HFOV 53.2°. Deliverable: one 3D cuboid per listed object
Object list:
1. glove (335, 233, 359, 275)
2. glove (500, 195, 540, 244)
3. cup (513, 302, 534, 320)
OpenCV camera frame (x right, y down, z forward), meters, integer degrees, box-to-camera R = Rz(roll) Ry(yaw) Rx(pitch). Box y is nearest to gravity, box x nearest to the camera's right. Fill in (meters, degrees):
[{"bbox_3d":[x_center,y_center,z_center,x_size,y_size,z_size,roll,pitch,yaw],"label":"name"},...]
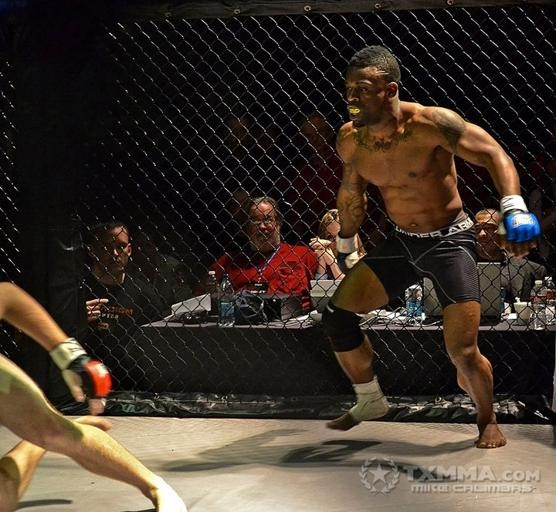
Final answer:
[{"bbox_3d":[0.336,-0.009,2.594,0.142,0.163,0.132,3,22,6],"label":"glove"},{"bbox_3d":[0.799,-0.134,1.847,0.099,0.114,0.214,-19,22,7],"label":"glove"},{"bbox_3d":[1.228,0.275,2.850,0.120,0.084,0.096,0,-8,2],"label":"cup"}]
